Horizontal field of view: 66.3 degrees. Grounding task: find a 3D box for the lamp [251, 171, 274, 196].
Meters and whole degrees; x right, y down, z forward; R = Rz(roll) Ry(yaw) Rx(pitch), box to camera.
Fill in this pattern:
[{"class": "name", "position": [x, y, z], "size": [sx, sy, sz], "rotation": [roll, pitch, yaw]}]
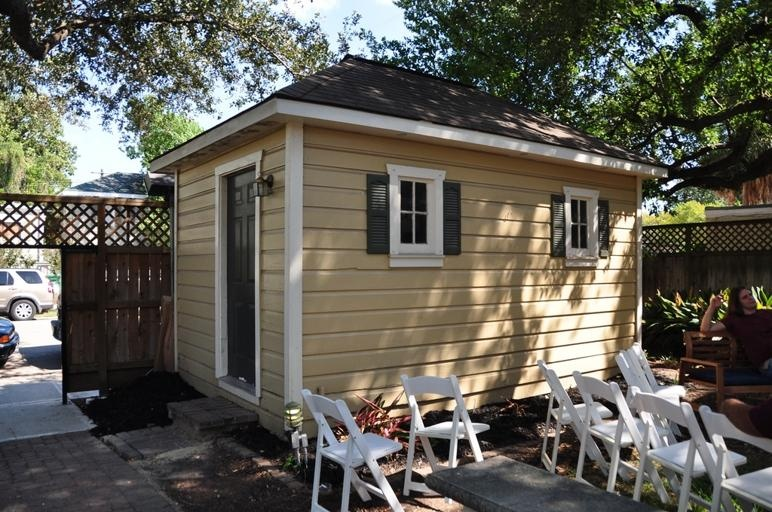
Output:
[{"class": "lamp", "position": [-1.806, -1.042, 8.761], "size": [0.332, 0.341, 0.204], "rotation": [0, 12, 4]}]
